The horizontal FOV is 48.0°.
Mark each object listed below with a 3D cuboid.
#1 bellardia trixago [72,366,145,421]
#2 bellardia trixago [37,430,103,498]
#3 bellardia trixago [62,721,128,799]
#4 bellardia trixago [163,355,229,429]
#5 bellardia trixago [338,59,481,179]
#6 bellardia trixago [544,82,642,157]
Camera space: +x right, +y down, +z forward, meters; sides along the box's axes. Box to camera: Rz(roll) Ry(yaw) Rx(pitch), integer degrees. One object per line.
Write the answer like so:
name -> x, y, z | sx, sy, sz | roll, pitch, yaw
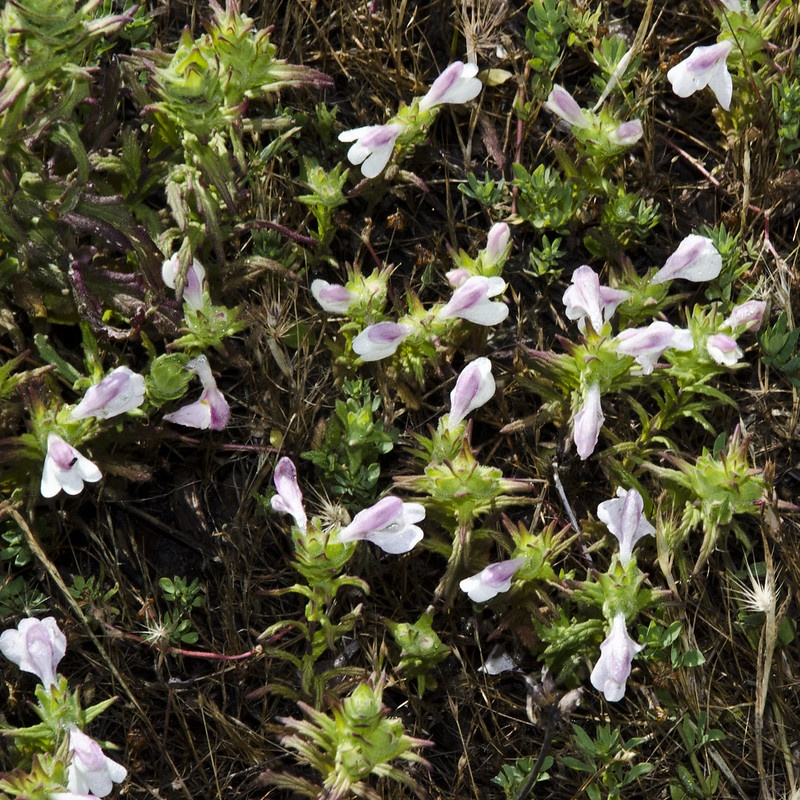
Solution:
bellardia trixago -> -0.805, 0.006, 2.509 | 0.191, 0.066, 0.133 | -38, 92, 11
bellardia trixago -> -0.904, 0.195, 2.433 | 0.119, 0.066, 0.208 | -18, 90, -8
bellardia trixago -> -0.824, 0.977, 2.417 | 0.139, 0.279, 0.132 | -8, 59, 10
bellardia trixago -> -0.608, -0.023, 2.793 | 0.189, 0.197, 0.253 | 4, 88, -25
bellardia trixago -> 0.015, -0.950, 3.095 | 0.542, 0.199, 0.198 | -43, 90, -7
bellardia trixago -> 0.658, -0.944, 3.079 | 0.325, 0.156, 0.124 | 38, 57, 1
